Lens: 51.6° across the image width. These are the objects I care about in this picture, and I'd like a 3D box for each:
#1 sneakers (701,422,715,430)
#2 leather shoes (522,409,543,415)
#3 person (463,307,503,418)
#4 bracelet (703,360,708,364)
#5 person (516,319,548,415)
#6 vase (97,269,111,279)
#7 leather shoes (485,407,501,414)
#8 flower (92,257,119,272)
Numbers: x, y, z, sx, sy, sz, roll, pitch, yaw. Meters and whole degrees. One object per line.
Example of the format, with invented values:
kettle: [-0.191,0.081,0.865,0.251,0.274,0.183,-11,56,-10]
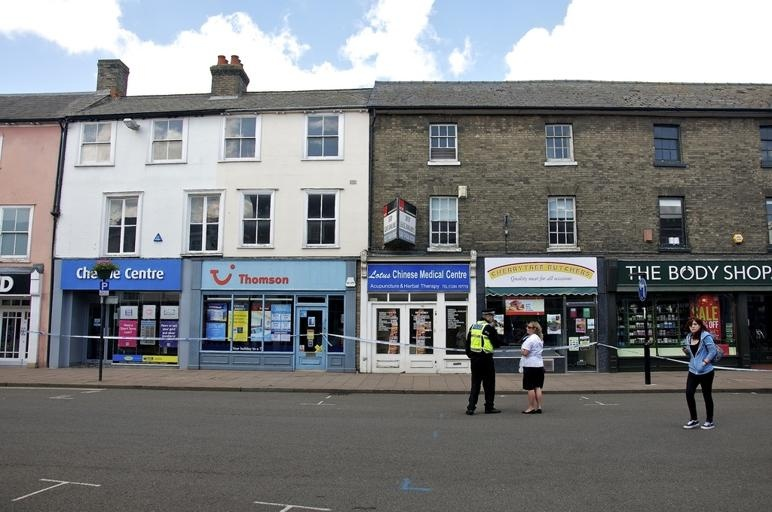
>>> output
sneakers: [8.245,4.362,20.498,0.156,0.160,0.438,-15,-23,41]
leather shoes: [4.090,4.322,22.233,0.564,0.195,0.186,2,-3,21]
person: [2.770,2.988,22.812,0.920,2.914,1.403,-1,-7,8]
bracelet: [8.251,2.737,20.657,0.093,0.082,0.083,2,2,1]
person: [4.133,3.136,22.618,0.597,2.554,1.065,-1,-7,9]
vase: [-9.944,0.628,28.152,0.442,0.293,0.429,-1,-3,21]
leather shoes: [3.015,4.323,22.390,0.406,0.245,0.161,-5,4,-21]
flower: [-9.961,0.306,28.375,0.791,0.479,0.778,2,-5,-7]
